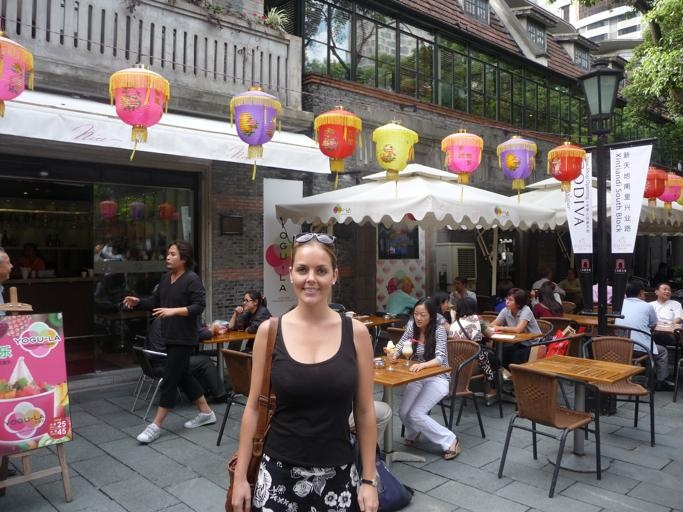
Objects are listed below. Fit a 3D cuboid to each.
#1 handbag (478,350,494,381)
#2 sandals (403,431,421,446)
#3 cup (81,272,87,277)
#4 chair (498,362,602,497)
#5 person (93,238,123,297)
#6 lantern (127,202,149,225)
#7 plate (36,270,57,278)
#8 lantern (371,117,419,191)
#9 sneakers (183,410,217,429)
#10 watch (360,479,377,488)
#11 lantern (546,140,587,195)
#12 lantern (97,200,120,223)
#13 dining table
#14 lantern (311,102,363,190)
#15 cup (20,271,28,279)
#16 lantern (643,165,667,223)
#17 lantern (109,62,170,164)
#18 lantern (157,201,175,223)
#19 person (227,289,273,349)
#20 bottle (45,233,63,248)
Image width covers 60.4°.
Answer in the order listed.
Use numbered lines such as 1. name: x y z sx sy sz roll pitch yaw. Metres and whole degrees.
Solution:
1. handbag: 2.216 1.635 8.883 0.281 0.586 0.128 6 10 40
2. sandals: 0.967 2.478 7.953 0.159 0.131 0.303 -3 -19 15
3. cup: -5.376 0.373 12.137 0.110 0.092 0.115 2 -3 0
4. chair: 2.646 2.208 7.320 1.062 1.895 1.060 -12 13 -37
5. person: -4.398 0.267 11.210 0.306 0.892 0.624 4 -1 -32
6. lantern: -3.971 -0.875 11.321 0.314 0.466 0.326 0 4 -17
7. plate: -6.184 0.354 12.207 0.313 0.135 0.367 -2 2 -20
8. lantern: 0.832 -1.766 9.947 0.857 1.183 0.885 0 -1 -8
9. sneakers: -2.074 2.390 8.612 0.504 0.229 0.184 5 -2 -30
10. watch: 0.220 1.794 4.643 0.099 0.064 0.099 25 -22 -38
11. lantern: 4.080 -1.642 10.680 0.778 1.041 0.749 1 2 43
12. lantern: -4.388 -0.866 10.975 0.309 0.397 0.318 2 0 -6
13. dining table: 3.056 1.934 7.865 1.492 1.523 1.473 -2 2 -41
14. lantern: -0.061 -1.957 9.600 0.737 1.087 0.440 -1 2 0
15. cup: -6.309 0.366 11.601 0.082 0.167 0.148 -5 -4 27
16. lantern: 6.628 -1.505 12.290 0.432 0.845 0.981 0 2 29
17. lantern: -2.840 -2.122 8.645 0.918 1.569 0.998 1 -1 -20
18. lantern: -3.474 -0.910 11.667 0.296 0.386 0.307 -1 2 -12
19. person: -1.542 1.257 9.903 0.691 1.281 0.577 4 -8 -42
20. bottle: -6.466 -0.363 13.084 0.131 0.372 0.314 -5 -6 40
